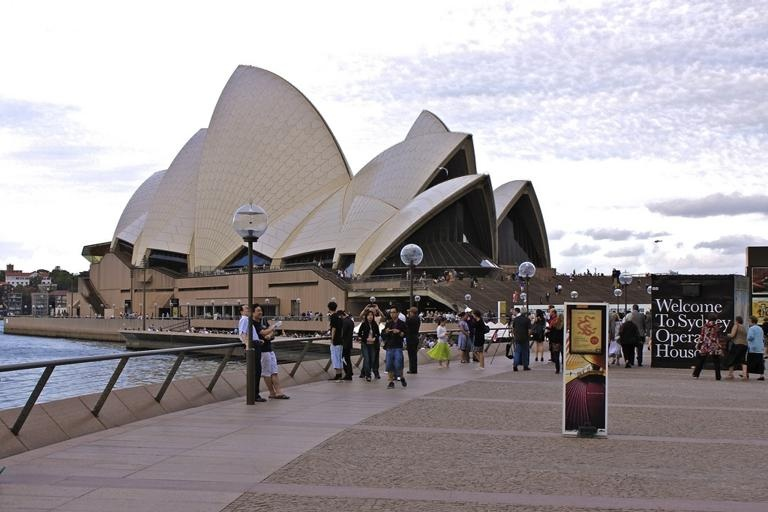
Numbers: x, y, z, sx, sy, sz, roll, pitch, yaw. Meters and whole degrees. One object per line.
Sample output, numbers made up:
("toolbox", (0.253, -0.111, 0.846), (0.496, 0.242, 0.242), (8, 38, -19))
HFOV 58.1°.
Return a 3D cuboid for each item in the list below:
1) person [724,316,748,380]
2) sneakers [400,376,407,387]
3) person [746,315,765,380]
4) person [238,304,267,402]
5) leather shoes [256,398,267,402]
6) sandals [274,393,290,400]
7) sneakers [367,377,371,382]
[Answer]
("person", (9.446, 2.432, 18.343), (0.438, 1.670, 1.622), (2, -1, 26))
("sneakers", (0.428, 2.796, 15.245), (0.103, 0.234, 0.095), (-14, -2, 4))
("person", (9.726, 2.428, 17.954), (0.409, 1.652, 1.474), (1, -1, 31))
("person", (-2.496, 1.846, 13.137), (0.520, 1.630, 1.371), (2, -1, -10))
("leather shoes", (-2.308, 2.683, 12.837), (0.144, 0.053, 0.082), (-8, -5, 36))
("sandals", (-1.966, 2.705, 13.253), (0.310, 0.089, 0.100), (-1, 2, -18))
("sneakers", (-0.364, 3.005, 16.732), (0.068, 0.122, 0.085), (-7, -17, 41))
